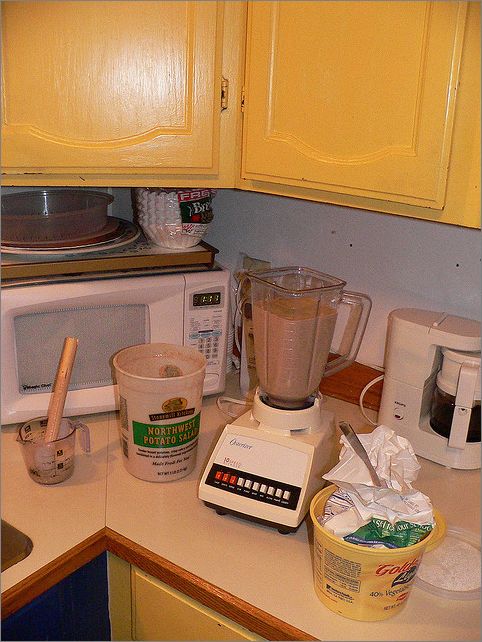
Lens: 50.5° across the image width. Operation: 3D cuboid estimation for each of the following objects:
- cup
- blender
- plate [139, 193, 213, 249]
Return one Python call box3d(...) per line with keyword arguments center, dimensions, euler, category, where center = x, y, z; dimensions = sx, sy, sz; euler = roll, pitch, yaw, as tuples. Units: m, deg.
box3d(center=(-0.327, 0.221, 0.891), dimensions=(0.114, 0.092, 0.095), euler=(-2, 14, -37), category="cup")
box3d(center=(0.079, 0.124, 0.827), dimensions=(0.214, 0.384, 0.235), euler=(7, 4, 39), category="blender")
box3d(center=(-0.135, -0.216, 1.040), dimensions=(0.126, 0.099, 0.128), euler=(2, 14, -5), category="plate")
